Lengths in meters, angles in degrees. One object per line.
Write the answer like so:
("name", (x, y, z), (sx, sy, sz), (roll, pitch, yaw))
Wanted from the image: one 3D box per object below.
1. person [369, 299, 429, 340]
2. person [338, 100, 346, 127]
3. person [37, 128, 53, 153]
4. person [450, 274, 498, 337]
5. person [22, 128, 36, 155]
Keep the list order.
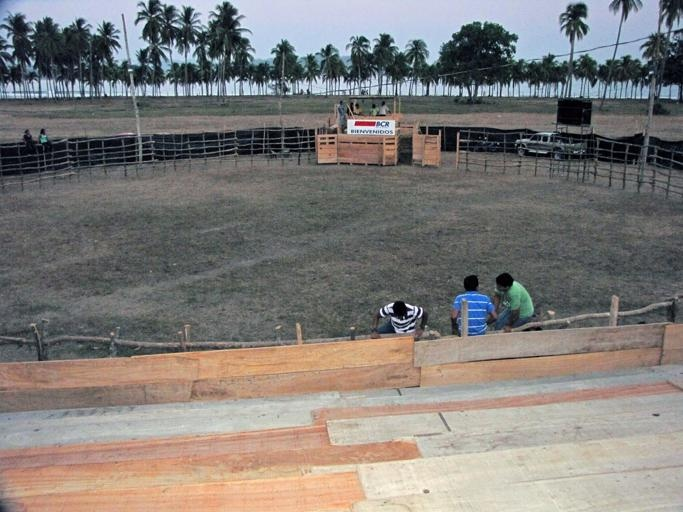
("person", (1.182, 1.200, 10.530), (0.996, 0.981, 1.704), (3, 16, 11))
("person", (0.038, -8.109, 30.937), (0.381, 1.494, 0.824), (4, 17, 14))
("person", (-14.939, -5.844, 27.003), (0.556, 1.091, 2.597), (-9, 18, -27))
("person", (2.613, 1.012, 10.538), (0.971, 1.701, 0.998), (0, 39, 11))
("person", (-14.991, -5.487, 25.726), (0.512, 1.105, 1.312), (-9, 18, -28))
